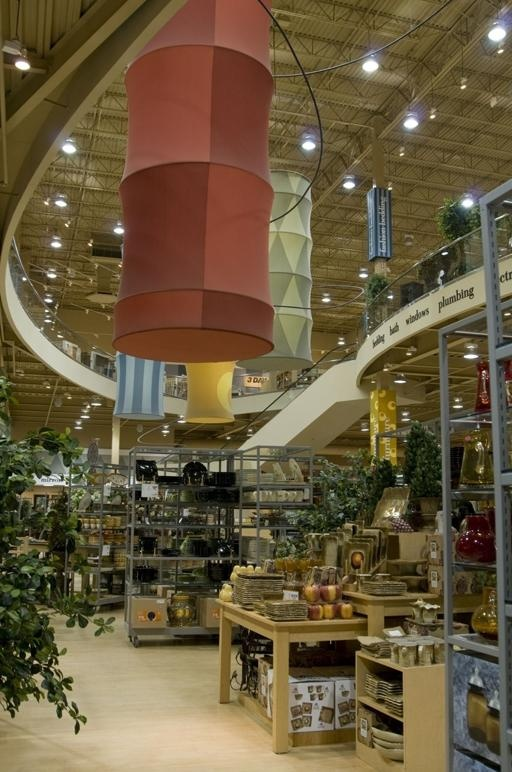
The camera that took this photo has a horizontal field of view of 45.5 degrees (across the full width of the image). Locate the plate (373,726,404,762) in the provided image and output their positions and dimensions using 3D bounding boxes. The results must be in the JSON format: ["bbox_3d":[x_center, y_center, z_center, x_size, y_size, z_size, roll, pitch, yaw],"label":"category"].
[{"bbox_3d":[0.651,1.759,2.997,0.123,0.076,0.149,7,-27,-1],"label":"plate"}]

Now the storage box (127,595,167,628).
[{"bbox_3d":[-1.190,2.443,6.709,0.342,0.269,0.349,0,-6,0],"label":"storage box"}]

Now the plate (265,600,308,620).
[{"bbox_3d":[0.174,1.252,3.403,0.155,0.058,0.127,0,-5,-2],"label":"plate"}]

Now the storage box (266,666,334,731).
[{"bbox_3d":[0.314,1.828,3.607,0.281,0.227,0.299,0,-3,1],"label":"storage box"}]

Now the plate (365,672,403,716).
[{"bbox_3d":[0.651,1.542,3.049,0.173,0.062,0.142,6,-6,-34],"label":"plate"}]

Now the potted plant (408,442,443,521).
[{"bbox_3d":[1.097,0.607,3.958,0.188,0.526,0.224,0,-8,13],"label":"potted plant"}]

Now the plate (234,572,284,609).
[{"bbox_3d":[0.003,1.296,3.924,0.235,0.140,0.247,-1,-7,2],"label":"plate"}]
